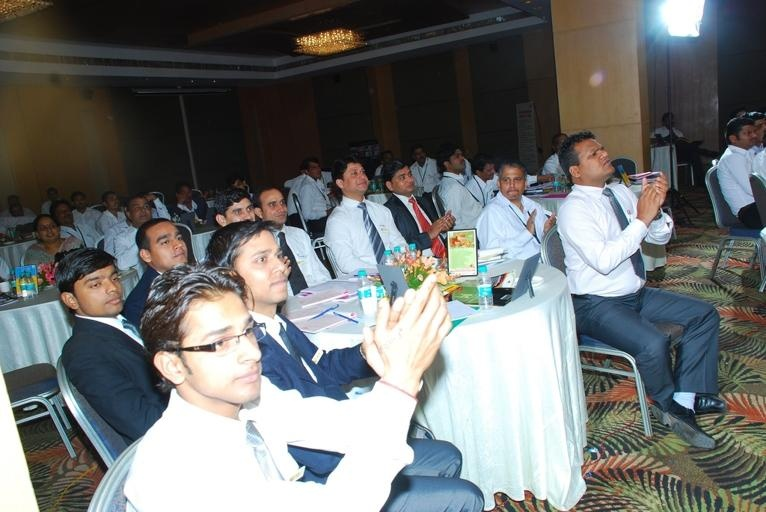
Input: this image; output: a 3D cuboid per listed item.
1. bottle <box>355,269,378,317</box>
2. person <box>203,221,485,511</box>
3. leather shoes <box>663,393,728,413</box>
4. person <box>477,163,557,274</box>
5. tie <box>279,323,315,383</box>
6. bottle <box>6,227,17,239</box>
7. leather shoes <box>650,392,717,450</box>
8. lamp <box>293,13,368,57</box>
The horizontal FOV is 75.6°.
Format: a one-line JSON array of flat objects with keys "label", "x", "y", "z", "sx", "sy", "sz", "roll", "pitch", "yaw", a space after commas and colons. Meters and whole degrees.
[{"label": "bottle", "x": -0.102, "y": 0.209, "z": 2.951, "sx": 0.136, "sy": 0.285, "sz": 0.140, "roll": -7, "pitch": 18, "yaw": 2}, {"label": "person", "x": -0.077, "y": 0.501, "z": 2.530, "sx": 1.212, "sy": 0.691, "sz": 1.405, "roll": 9, "pitch": 19, "yaw": 26}, {"label": "leather shoes", "x": 2.183, "y": 1.001, "z": 3.449, "sx": 0.341, "sy": 0.119, "sz": 0.137, "roll": -5, "pitch": -2, "yaw": 29}, {"label": "person", "x": 1.287, "y": -0.429, "z": 4.774, "sx": 1.045, "sy": 0.975, "sz": 0.562, "roll": -16, "pitch": 15, "yaw": -40}, {"label": "tie", "x": -0.387, "y": 0.456, "z": 2.266, "sx": 0.175, "sy": 0.086, "sz": 0.239, "roll": -3, "pitch": 48, "yaw": -35}, {"label": "bottle", "x": -5.994, "y": -0.372, "z": 8.027, "sx": 0.151, "sy": 0.132, "sz": 0.236, "roll": -6, "pitch": 34, "yaw": -26}, {"label": "leather shoes", "x": 1.905, "y": 1.070, "z": 3.243, "sx": 0.197, "sy": 0.157, "sz": 0.437, "roll": -23, "pitch": 49, "yaw": -31}, {"label": "lamp", "x": -1.058, "y": -4.223, "z": 9.722, "sx": 1.335, "sy": 0.337, "sz": 0.821, "roll": -10, "pitch": 13, "yaw": 1}]
